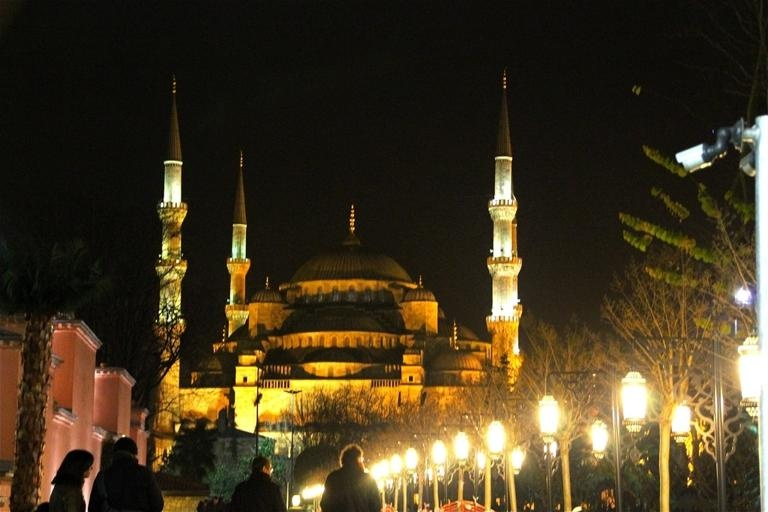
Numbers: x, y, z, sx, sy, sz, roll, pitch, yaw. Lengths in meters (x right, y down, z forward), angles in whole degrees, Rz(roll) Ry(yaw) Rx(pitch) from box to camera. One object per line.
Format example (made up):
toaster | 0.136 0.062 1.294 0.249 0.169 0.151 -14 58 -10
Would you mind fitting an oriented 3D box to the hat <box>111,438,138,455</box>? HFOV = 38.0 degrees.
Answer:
hat | -3.389 2.503 14.733 0.315 0.274 0.338 2 -6 -5
